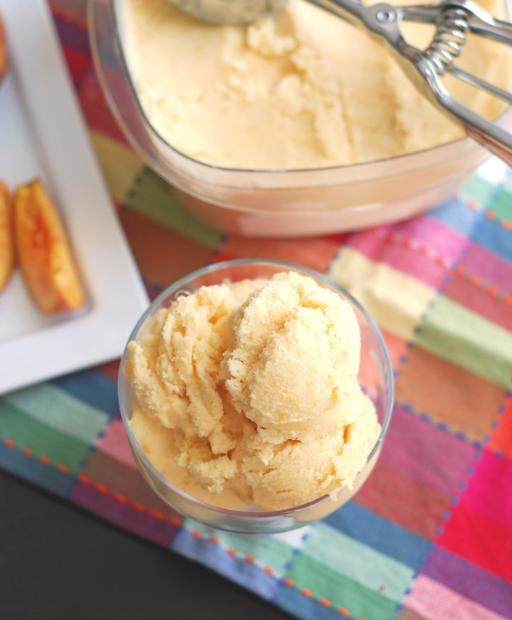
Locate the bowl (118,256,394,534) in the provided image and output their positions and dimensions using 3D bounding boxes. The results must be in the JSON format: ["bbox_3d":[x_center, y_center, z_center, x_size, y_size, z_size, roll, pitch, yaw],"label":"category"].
[{"bbox_3d":[0.006,0.066,0.672,0.311,0.148,0.239,-2,83,-2],"label":"bowl"}]

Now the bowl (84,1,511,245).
[{"bbox_3d":[0.024,-0.139,0.693,0.336,0.111,0.258,25,77,6],"label":"bowl"}]
